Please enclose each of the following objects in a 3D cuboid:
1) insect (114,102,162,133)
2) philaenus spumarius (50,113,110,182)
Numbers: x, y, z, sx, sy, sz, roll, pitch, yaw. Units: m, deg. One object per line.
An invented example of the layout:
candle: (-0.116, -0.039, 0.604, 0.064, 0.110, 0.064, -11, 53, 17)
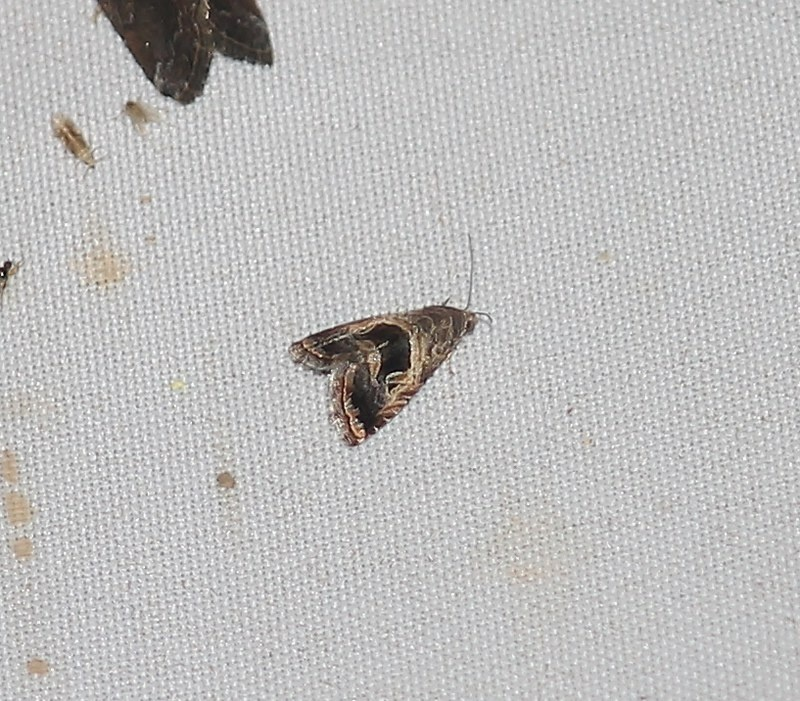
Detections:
insect: (-0.768, -0.694, 4.526, 0.083, 0.091, 0.037, -47, 8, 2)
philaenus spumarius: (-0.971, -0.617, 4.531, 0.136, 0.139, 0.061, 25, 53, 38)
